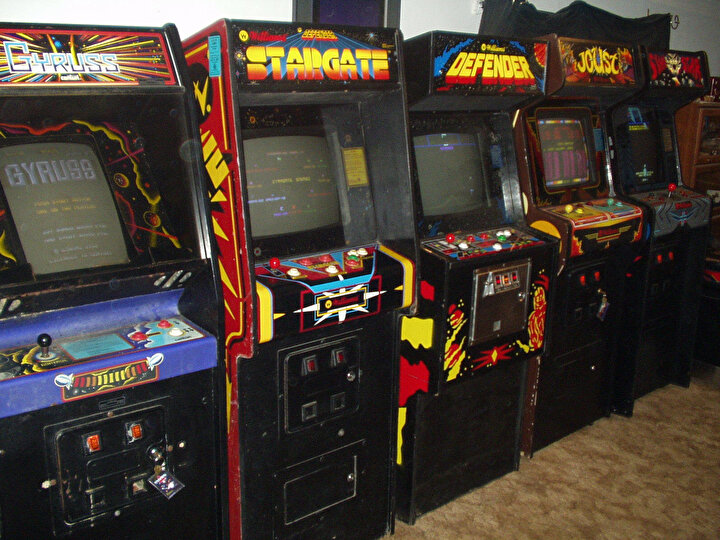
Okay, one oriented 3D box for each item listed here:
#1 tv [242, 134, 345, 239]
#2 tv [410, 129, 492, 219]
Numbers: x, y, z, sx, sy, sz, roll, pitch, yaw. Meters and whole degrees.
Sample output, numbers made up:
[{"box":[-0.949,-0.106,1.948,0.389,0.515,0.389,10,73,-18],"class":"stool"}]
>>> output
[{"box":[-0.277,-0.331,2.320,0.390,0.351,0.197,-10,5,-38],"class":"tv"},{"box":[0.412,-0.449,2.742,0.427,0.404,0.230,-6,1,-35],"class":"tv"}]
